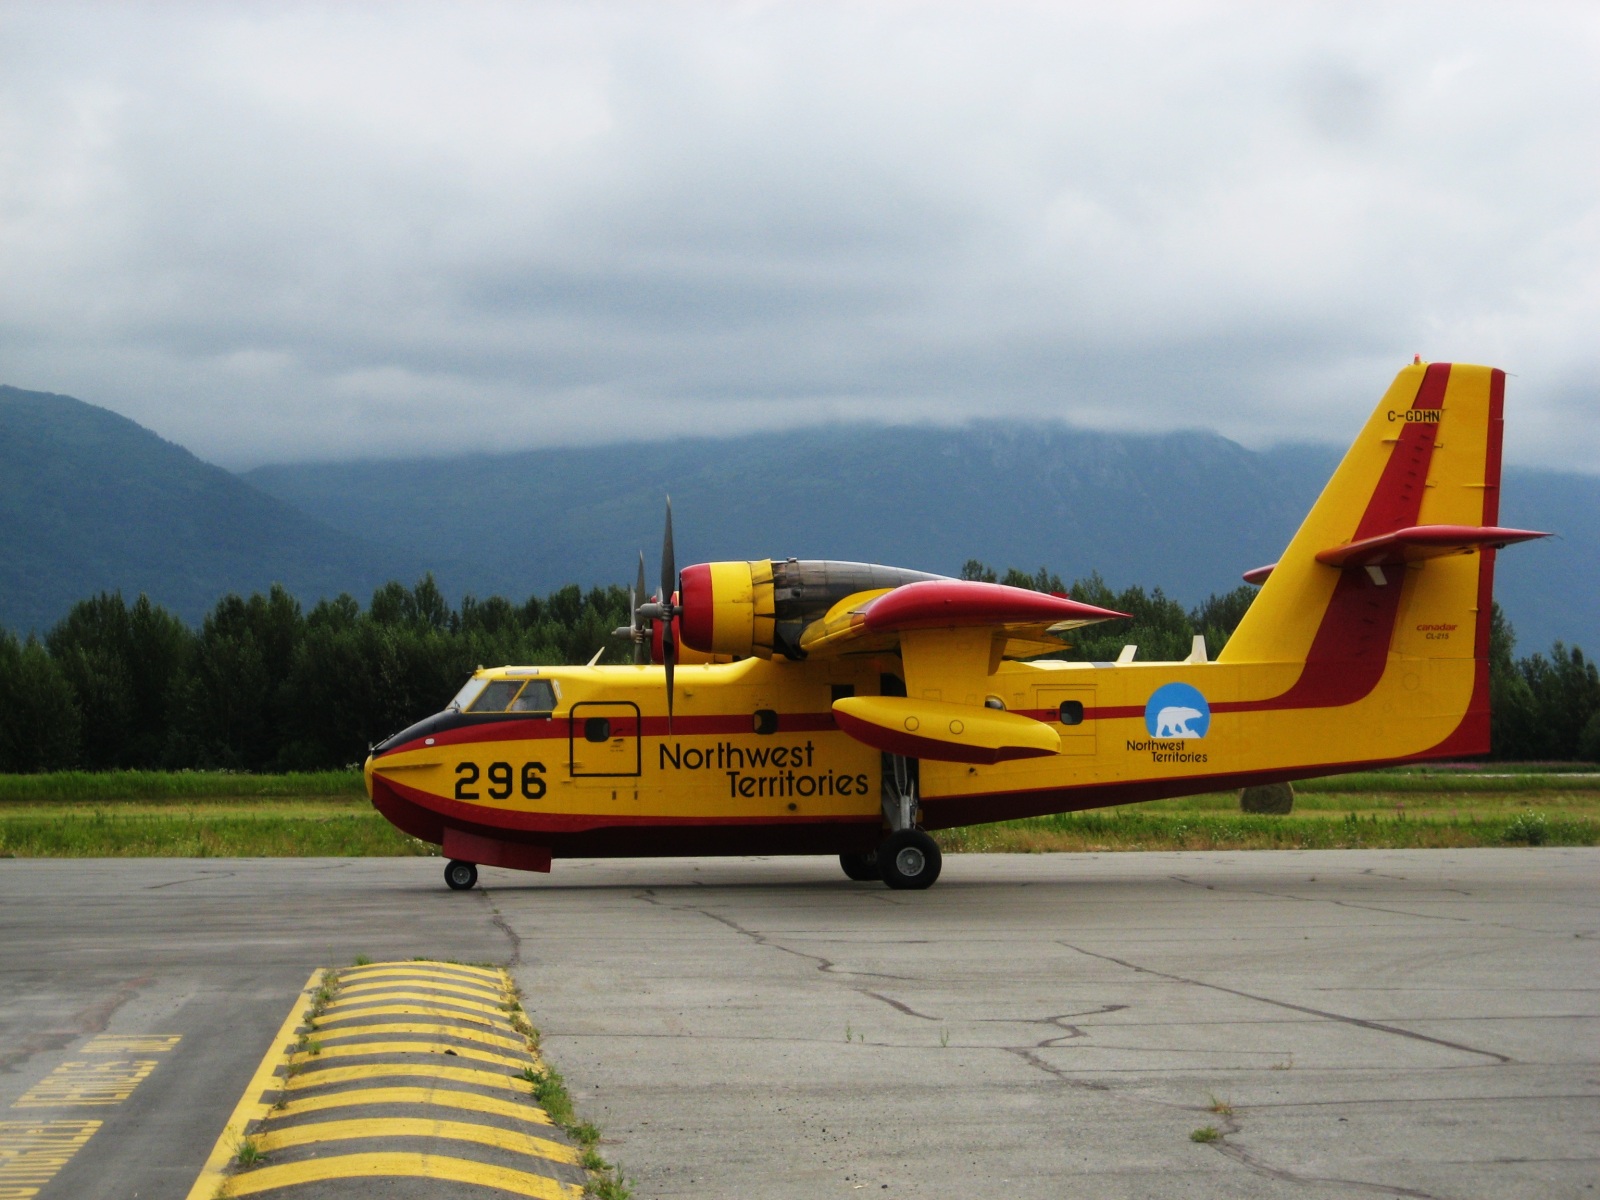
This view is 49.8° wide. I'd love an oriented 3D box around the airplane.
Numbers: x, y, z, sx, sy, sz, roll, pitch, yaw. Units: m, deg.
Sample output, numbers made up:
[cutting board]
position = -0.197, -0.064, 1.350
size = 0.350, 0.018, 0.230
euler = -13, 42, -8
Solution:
[airplane]
position = 2.351, 1.261, 22.131
size = 9.824, 3.961, 9.291
euler = 1, -3, -6
